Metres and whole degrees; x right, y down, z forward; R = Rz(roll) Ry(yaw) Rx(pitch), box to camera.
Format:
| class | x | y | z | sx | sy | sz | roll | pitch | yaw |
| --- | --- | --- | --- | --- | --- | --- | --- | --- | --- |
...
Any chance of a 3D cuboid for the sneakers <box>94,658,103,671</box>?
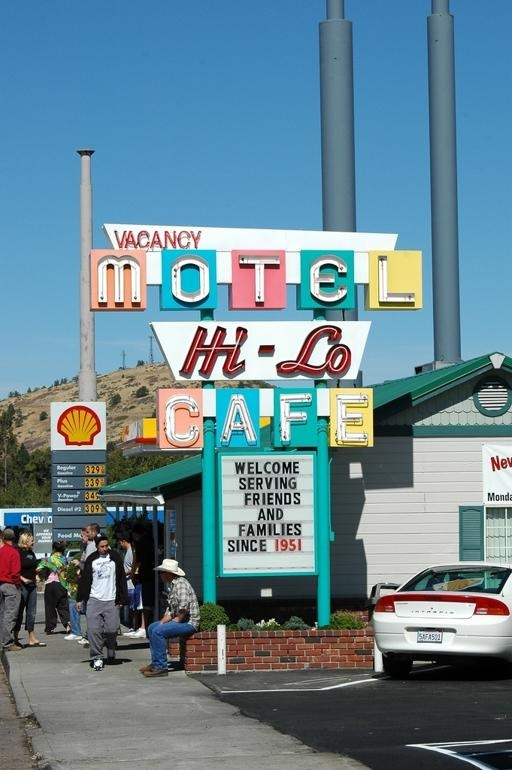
| class | x | y | z | sx | sy | sz | roll | pitch | yaw |
| --- | --- | --- | --- | --- | --- | --- | --- | --- | --- |
| sneakers | -1.830 | 3.231 | 16.733 | 0.091 | 0.132 | 0.284 | 1 | -9 | -3 |

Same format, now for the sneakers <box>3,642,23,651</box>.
| class | x | y | z | sx | sy | sz | roll | pitch | yaw |
| --- | --- | --- | --- | --- | --- | --- | --- | --- | --- |
| sneakers | -3.317 | 3.552 | 19.687 | 0.247 | 0.117 | 0.094 | -1 | 1 | -5 |

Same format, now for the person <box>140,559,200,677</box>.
| class | x | y | z | sx | sy | sz | roll | pitch | yaw |
| --- | --- | --- | --- | --- | --- | --- | --- | --- | --- |
| person | -0.972 | 2.627 | 16.456 | 0.494 | 0.805 | 1.009 | -4 | -3 | 16 |

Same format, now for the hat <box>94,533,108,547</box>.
| class | x | y | z | sx | sy | sz | roll | pitch | yaw |
| --- | --- | --- | --- | --- | --- | --- | --- | --- | --- |
| hat | -1.910 | 1.916 | 17.825 | 0.134 | 0.220 | 0.206 | -6 | 7 | -13 |

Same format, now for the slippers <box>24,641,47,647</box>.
| class | x | y | z | sx | sy | sz | roll | pitch | yaw |
| --- | --- | --- | --- | --- | --- | --- | --- | --- | --- |
| slippers | -3.187 | 3.724 | 20.837 | 0.300 | 0.133 | 0.117 | -2 | -1 | 4 |

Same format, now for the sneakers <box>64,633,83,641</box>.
| class | x | y | z | sx | sy | sz | roll | pitch | yaw |
| --- | --- | --- | --- | --- | --- | --- | --- | --- | --- |
| sneakers | -2.790 | 3.823 | 21.959 | 0.313 | 0.155 | 0.129 | 1 | -4 | 37 |

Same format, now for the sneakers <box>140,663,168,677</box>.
| class | x | y | z | sx | sy | sz | roll | pitch | yaw |
| --- | --- | --- | --- | --- | --- | --- | --- | --- | --- |
| sneakers | -1.114 | 3.174 | 16.069 | 0.202 | 0.092 | 0.136 | 12 | -10 | -24 |
